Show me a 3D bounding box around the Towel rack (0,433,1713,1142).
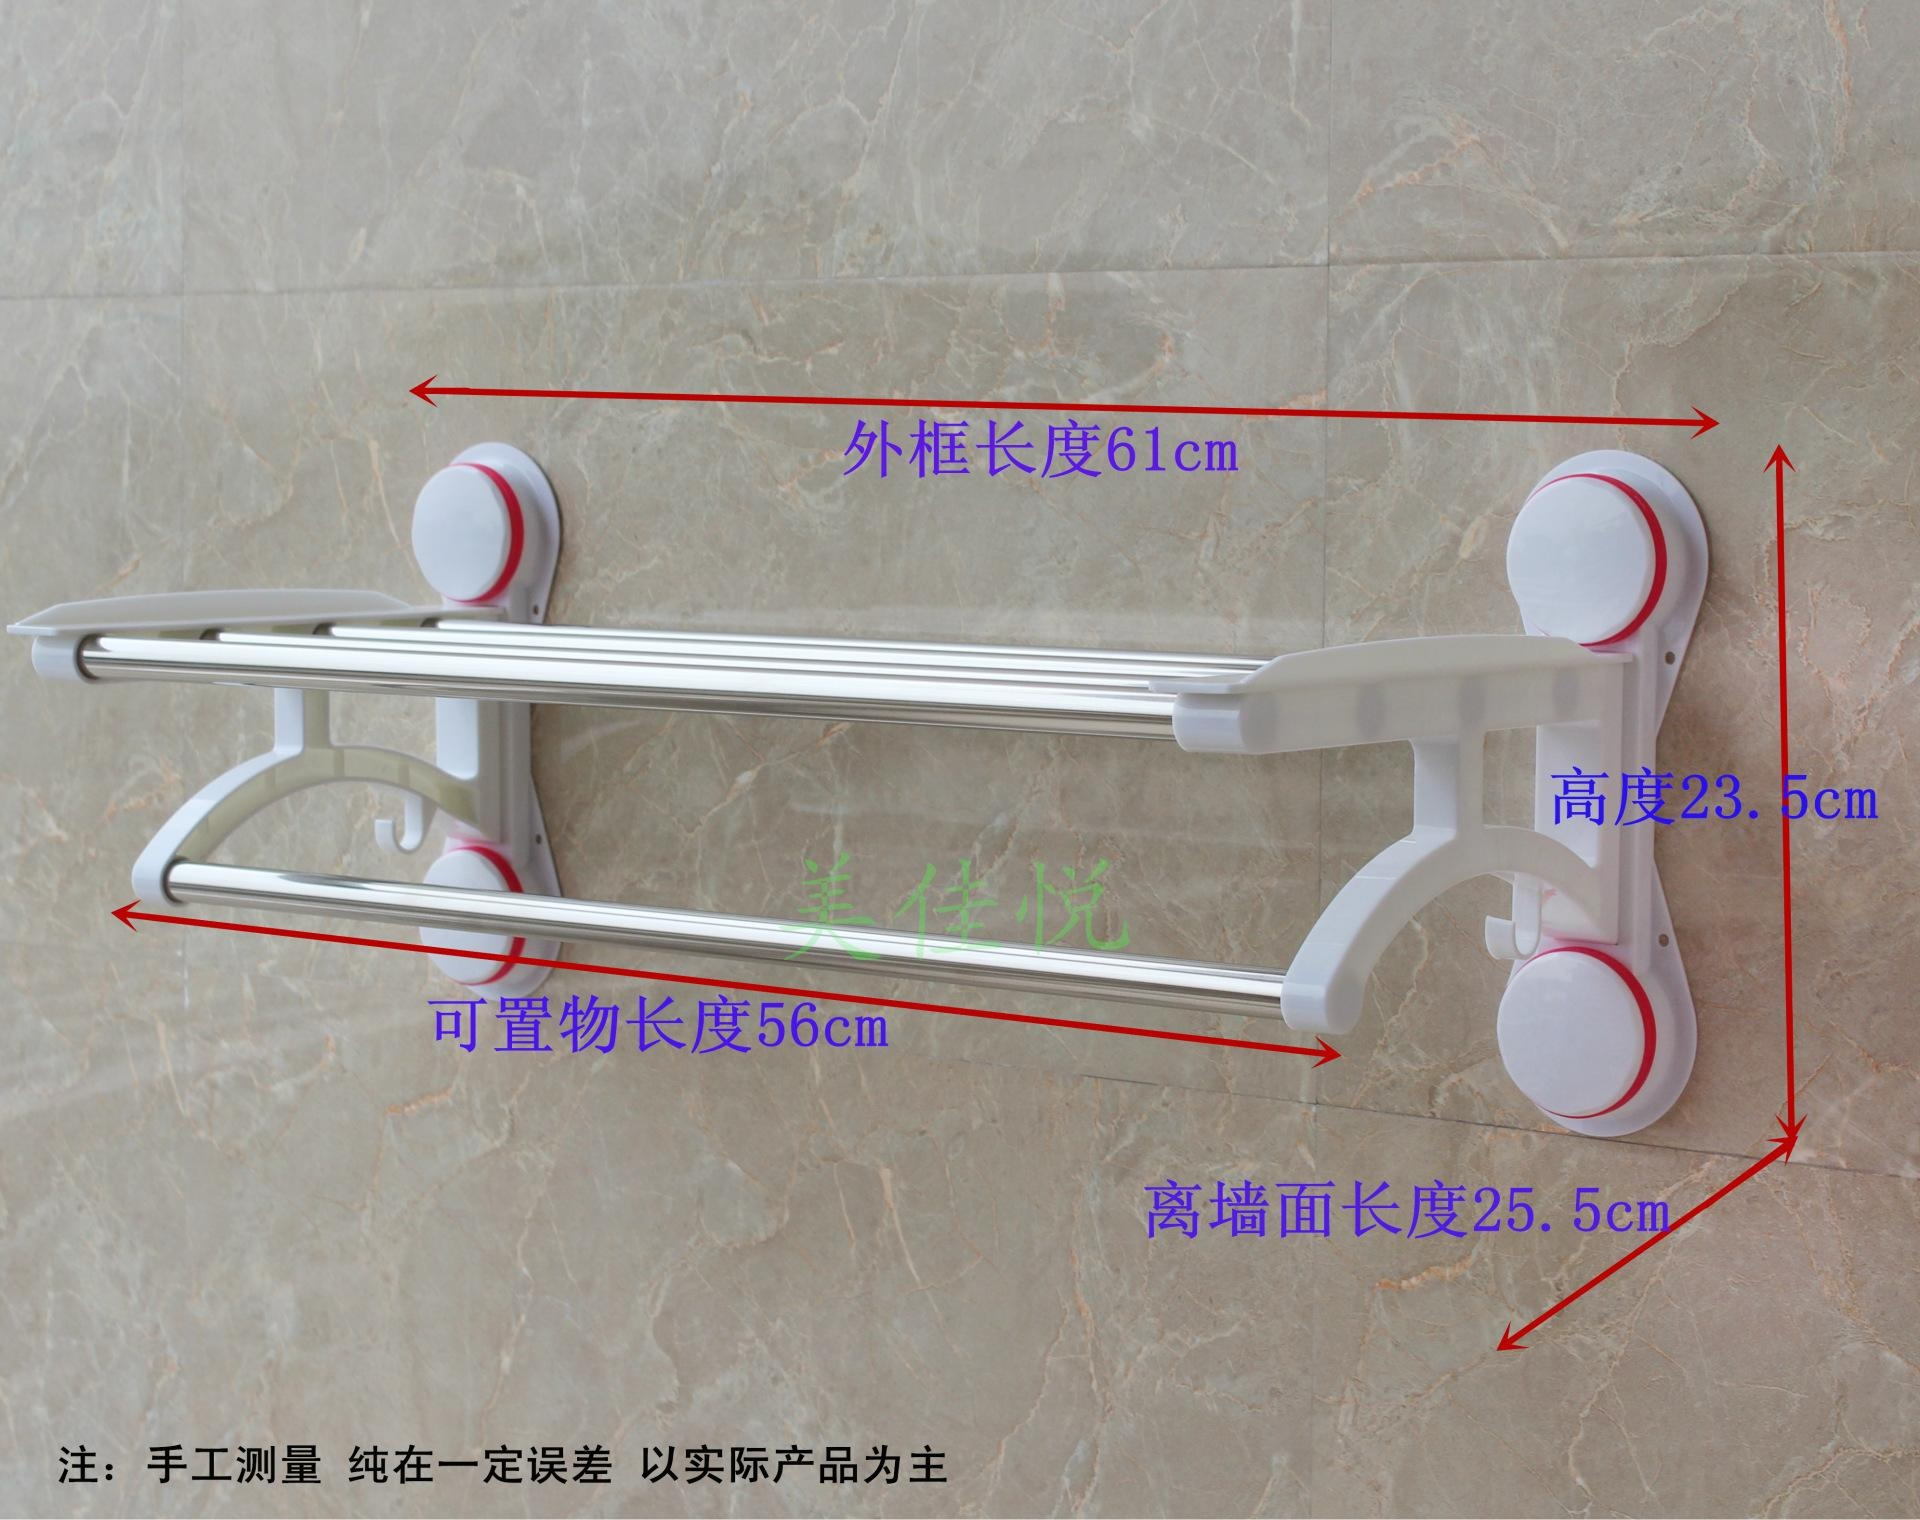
[{"bbox_3d":[0.033,0.015,1.628,0.386,0.460,0.972,-7,10,-32],"label":"Towel rack"}]
